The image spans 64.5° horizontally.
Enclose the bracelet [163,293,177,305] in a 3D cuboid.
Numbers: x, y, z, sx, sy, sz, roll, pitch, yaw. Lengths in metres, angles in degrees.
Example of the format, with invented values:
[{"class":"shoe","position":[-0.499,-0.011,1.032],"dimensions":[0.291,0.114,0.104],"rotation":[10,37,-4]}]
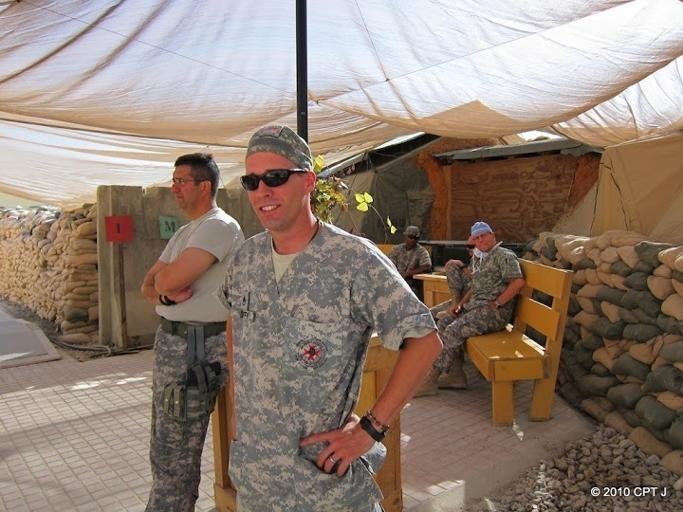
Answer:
[{"class":"bracelet","position":[-1.257,0.316,3.921],"dimensions":[0.100,0.087,0.062],"rotation":[2,5,32]}]

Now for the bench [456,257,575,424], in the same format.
[{"class":"bench","position":[1.986,0.929,6.889],"dimensions":[0.997,1.587,2.139],"rotation":[-1,6,-3]}]

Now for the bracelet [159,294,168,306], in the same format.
[{"class":"bracelet","position":[-1.292,0.320,3.953],"dimensions":[0.087,0.038,0.064],"rotation":[25,-12,48]}]

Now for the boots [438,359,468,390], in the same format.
[{"class":"boots","position":[1.448,1.566,7.003],"dimensions":[0.513,0.407,0.215],"rotation":[4,-7,2]}]

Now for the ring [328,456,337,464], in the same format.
[{"class":"ring","position":[-0.043,1.055,2.801],"dimensions":[0.041,0.009,0.038],"rotation":[4,6,0]}]

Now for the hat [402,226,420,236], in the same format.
[{"class":"hat","position":[1.297,-0.484,9.972],"dimensions":[0.235,0.130,0.288],"rotation":[6,-1,1]}]

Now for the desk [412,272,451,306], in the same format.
[{"class":"desk","position":[1.619,0.545,9.374],"dimensions":[0.533,0.665,0.751],"rotation":[-4,5,-36]}]

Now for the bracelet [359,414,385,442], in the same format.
[{"class":"bracelet","position":[0.158,0.896,2.827],"dimensions":[0.156,0.056,0.117],"rotation":[36,4,-26]}]
